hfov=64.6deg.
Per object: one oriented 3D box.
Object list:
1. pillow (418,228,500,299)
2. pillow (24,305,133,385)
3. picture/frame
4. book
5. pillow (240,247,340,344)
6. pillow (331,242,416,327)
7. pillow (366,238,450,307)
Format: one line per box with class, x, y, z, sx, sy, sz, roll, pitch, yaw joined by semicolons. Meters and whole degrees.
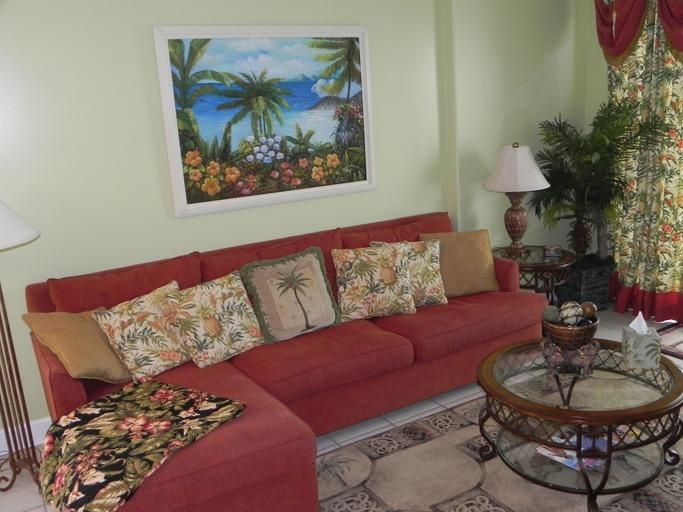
pillow;0.933;0.059;4.000;0.574;0.448;0.160;-7;-6;-7
pillow;-1.467;0.519;3.050;0.157;0.504;0.552;-44;-20;-7
picture/frame;-0.611;-0.996;3.870;1.625;1.056;0.028;-12;20;-25
book;1.146;0.969;2.690;0.345;0.219;0.281;-4;13;19
pillow;-0.341;0.277;3.500;0.643;0.539;0.165;-18;-5;-29
pillow;0.278;0.157;3.788;0.683;0.530;0.203;-3;-16;36
pillow;0.504;0.151;4.012;0.566;0.452;0.162;-4;-12;-29
